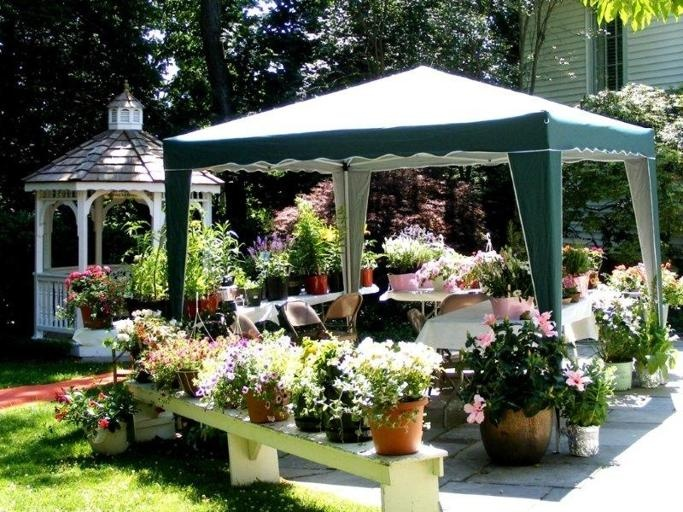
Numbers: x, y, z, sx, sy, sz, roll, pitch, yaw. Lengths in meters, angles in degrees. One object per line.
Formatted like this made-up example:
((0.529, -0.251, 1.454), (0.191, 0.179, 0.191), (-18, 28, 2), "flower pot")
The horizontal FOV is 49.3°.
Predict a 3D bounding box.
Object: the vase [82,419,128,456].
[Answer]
((-2.179, 1.679, 6.930), (0.304, 0.216, 0.257), (-3, -2, 35), "vase")

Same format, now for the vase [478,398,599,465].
((1.683, 1.471, 6.322), (0.830, 0.401, 0.531), (1, -9, -2), "vase")

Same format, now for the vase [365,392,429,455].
((0.381, 1.156, 5.229), (0.360, 0.297, 0.376), (-4, -2, 32), "vase")
